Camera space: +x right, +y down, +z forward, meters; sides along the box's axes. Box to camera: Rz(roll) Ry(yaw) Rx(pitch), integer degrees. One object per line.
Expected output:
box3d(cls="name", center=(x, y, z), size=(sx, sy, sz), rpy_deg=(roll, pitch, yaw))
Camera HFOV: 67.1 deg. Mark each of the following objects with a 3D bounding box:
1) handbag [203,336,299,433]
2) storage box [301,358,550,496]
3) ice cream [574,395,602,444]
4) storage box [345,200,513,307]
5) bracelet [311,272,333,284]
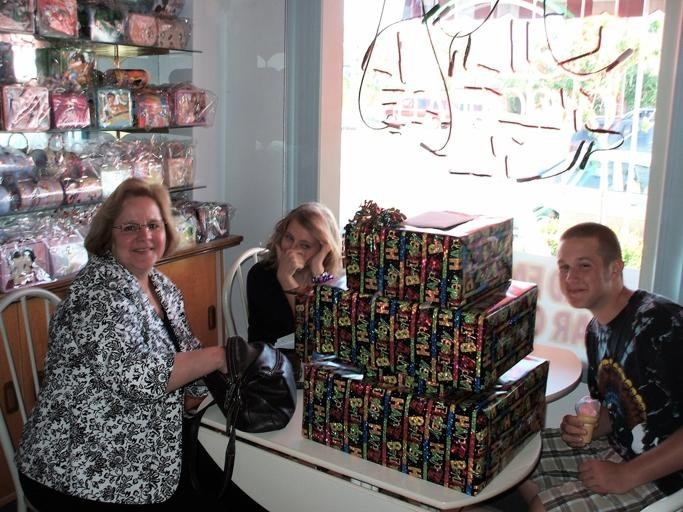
box3d(cls="handbag", center=(-0.252, 0.363, 1.593), size=(0.283, 0.279, 0.220), rpy_deg=(1, 5, 24))
box3d(cls="storage box", center=(0.203, 0.351, 1.356), size=(0.370, 0.144, 0.394), rpy_deg=(6, 10, 33))
box3d(cls="ice cream", center=(0.792, 0.522, 1.654), size=(0.061, 0.143, 0.113), rpy_deg=(11, 14, 43))
box3d(cls="storage box", center=(0.256, -0.007, 1.388), size=(0.316, 0.189, 0.322), rpy_deg=(7, 9, 38))
box3d(cls="bracelet", center=(-0.075, 0.081, 2.176), size=(0.073, 0.039, 0.056), rpy_deg=(-11, 0, 42))
